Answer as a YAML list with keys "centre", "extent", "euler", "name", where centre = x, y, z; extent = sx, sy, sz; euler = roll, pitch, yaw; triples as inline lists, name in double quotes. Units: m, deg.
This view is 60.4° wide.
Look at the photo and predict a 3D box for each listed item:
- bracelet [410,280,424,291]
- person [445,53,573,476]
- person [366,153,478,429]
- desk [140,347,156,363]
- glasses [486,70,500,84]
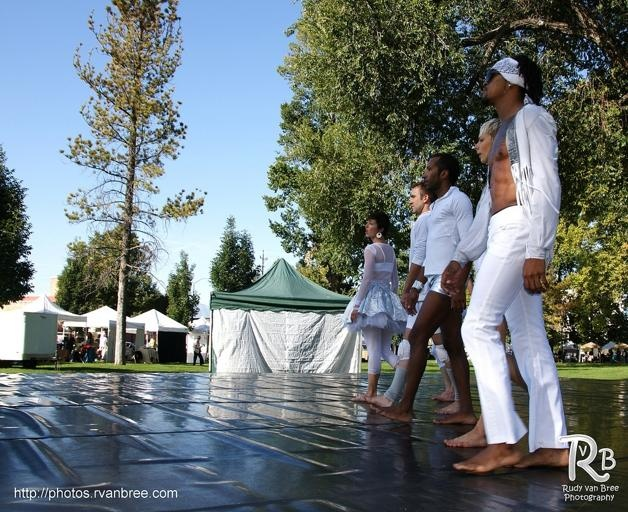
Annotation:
- centre: [0.932, 0.261, 4.806]
  extent: [0.072, 0.070, 0.088]
  euler: [6, -2, 2]
  name: "bracelet"
- centre: [1.033, -0.016, 2.953]
  extent: [0.604, 2.210, 0.612]
  euler: [-2, -9, 15]
  name: "person"
- centre: [0.939, 0.216, 4.341]
  extent: [0.683, 2.200, 0.628]
  euler: [-2, -13, 30]
  name: "person"
- centre: [-8.589, 5.100, 27.910]
  extent: [0.505, 0.732, 1.276]
  euler: [-4, -11, 20]
  name: "desk"
- centre: [1.007, -1.025, 3.040]
  extent: [0.019, 0.068, 0.058]
  euler: [12, -11, -38]
  name: "glasses"
